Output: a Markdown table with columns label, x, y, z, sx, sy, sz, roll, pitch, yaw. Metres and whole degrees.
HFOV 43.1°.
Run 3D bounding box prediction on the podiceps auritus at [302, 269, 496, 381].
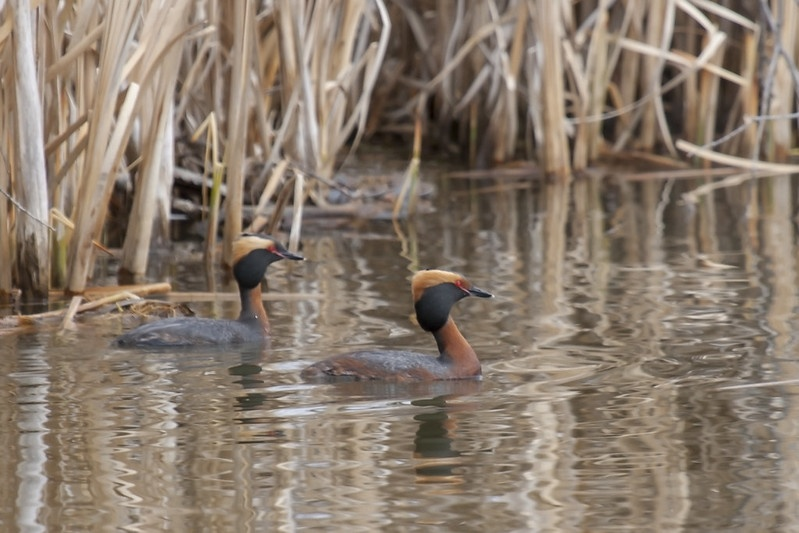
| label | x | y | z | sx | sy | sz | roll | pitch | yaw |
| --- | --- | --- | --- | --- | --- | --- | --- | --- | --- |
| podiceps auritus | -0.071 | 0.560 | 7.194 | 1.628 | 0.983 | 0.514 | 0 | 2 | -27 |

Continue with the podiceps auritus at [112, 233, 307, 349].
| label | x | y | z | sx | sy | sz | roll | pitch | yaw |
| --- | --- | --- | --- | --- | --- | --- | --- | --- | --- |
| podiceps auritus | -1.643 | 0.308 | 8.119 | 1.963 | 0.654 | 1.018 | -3 | 93 | -42 |
